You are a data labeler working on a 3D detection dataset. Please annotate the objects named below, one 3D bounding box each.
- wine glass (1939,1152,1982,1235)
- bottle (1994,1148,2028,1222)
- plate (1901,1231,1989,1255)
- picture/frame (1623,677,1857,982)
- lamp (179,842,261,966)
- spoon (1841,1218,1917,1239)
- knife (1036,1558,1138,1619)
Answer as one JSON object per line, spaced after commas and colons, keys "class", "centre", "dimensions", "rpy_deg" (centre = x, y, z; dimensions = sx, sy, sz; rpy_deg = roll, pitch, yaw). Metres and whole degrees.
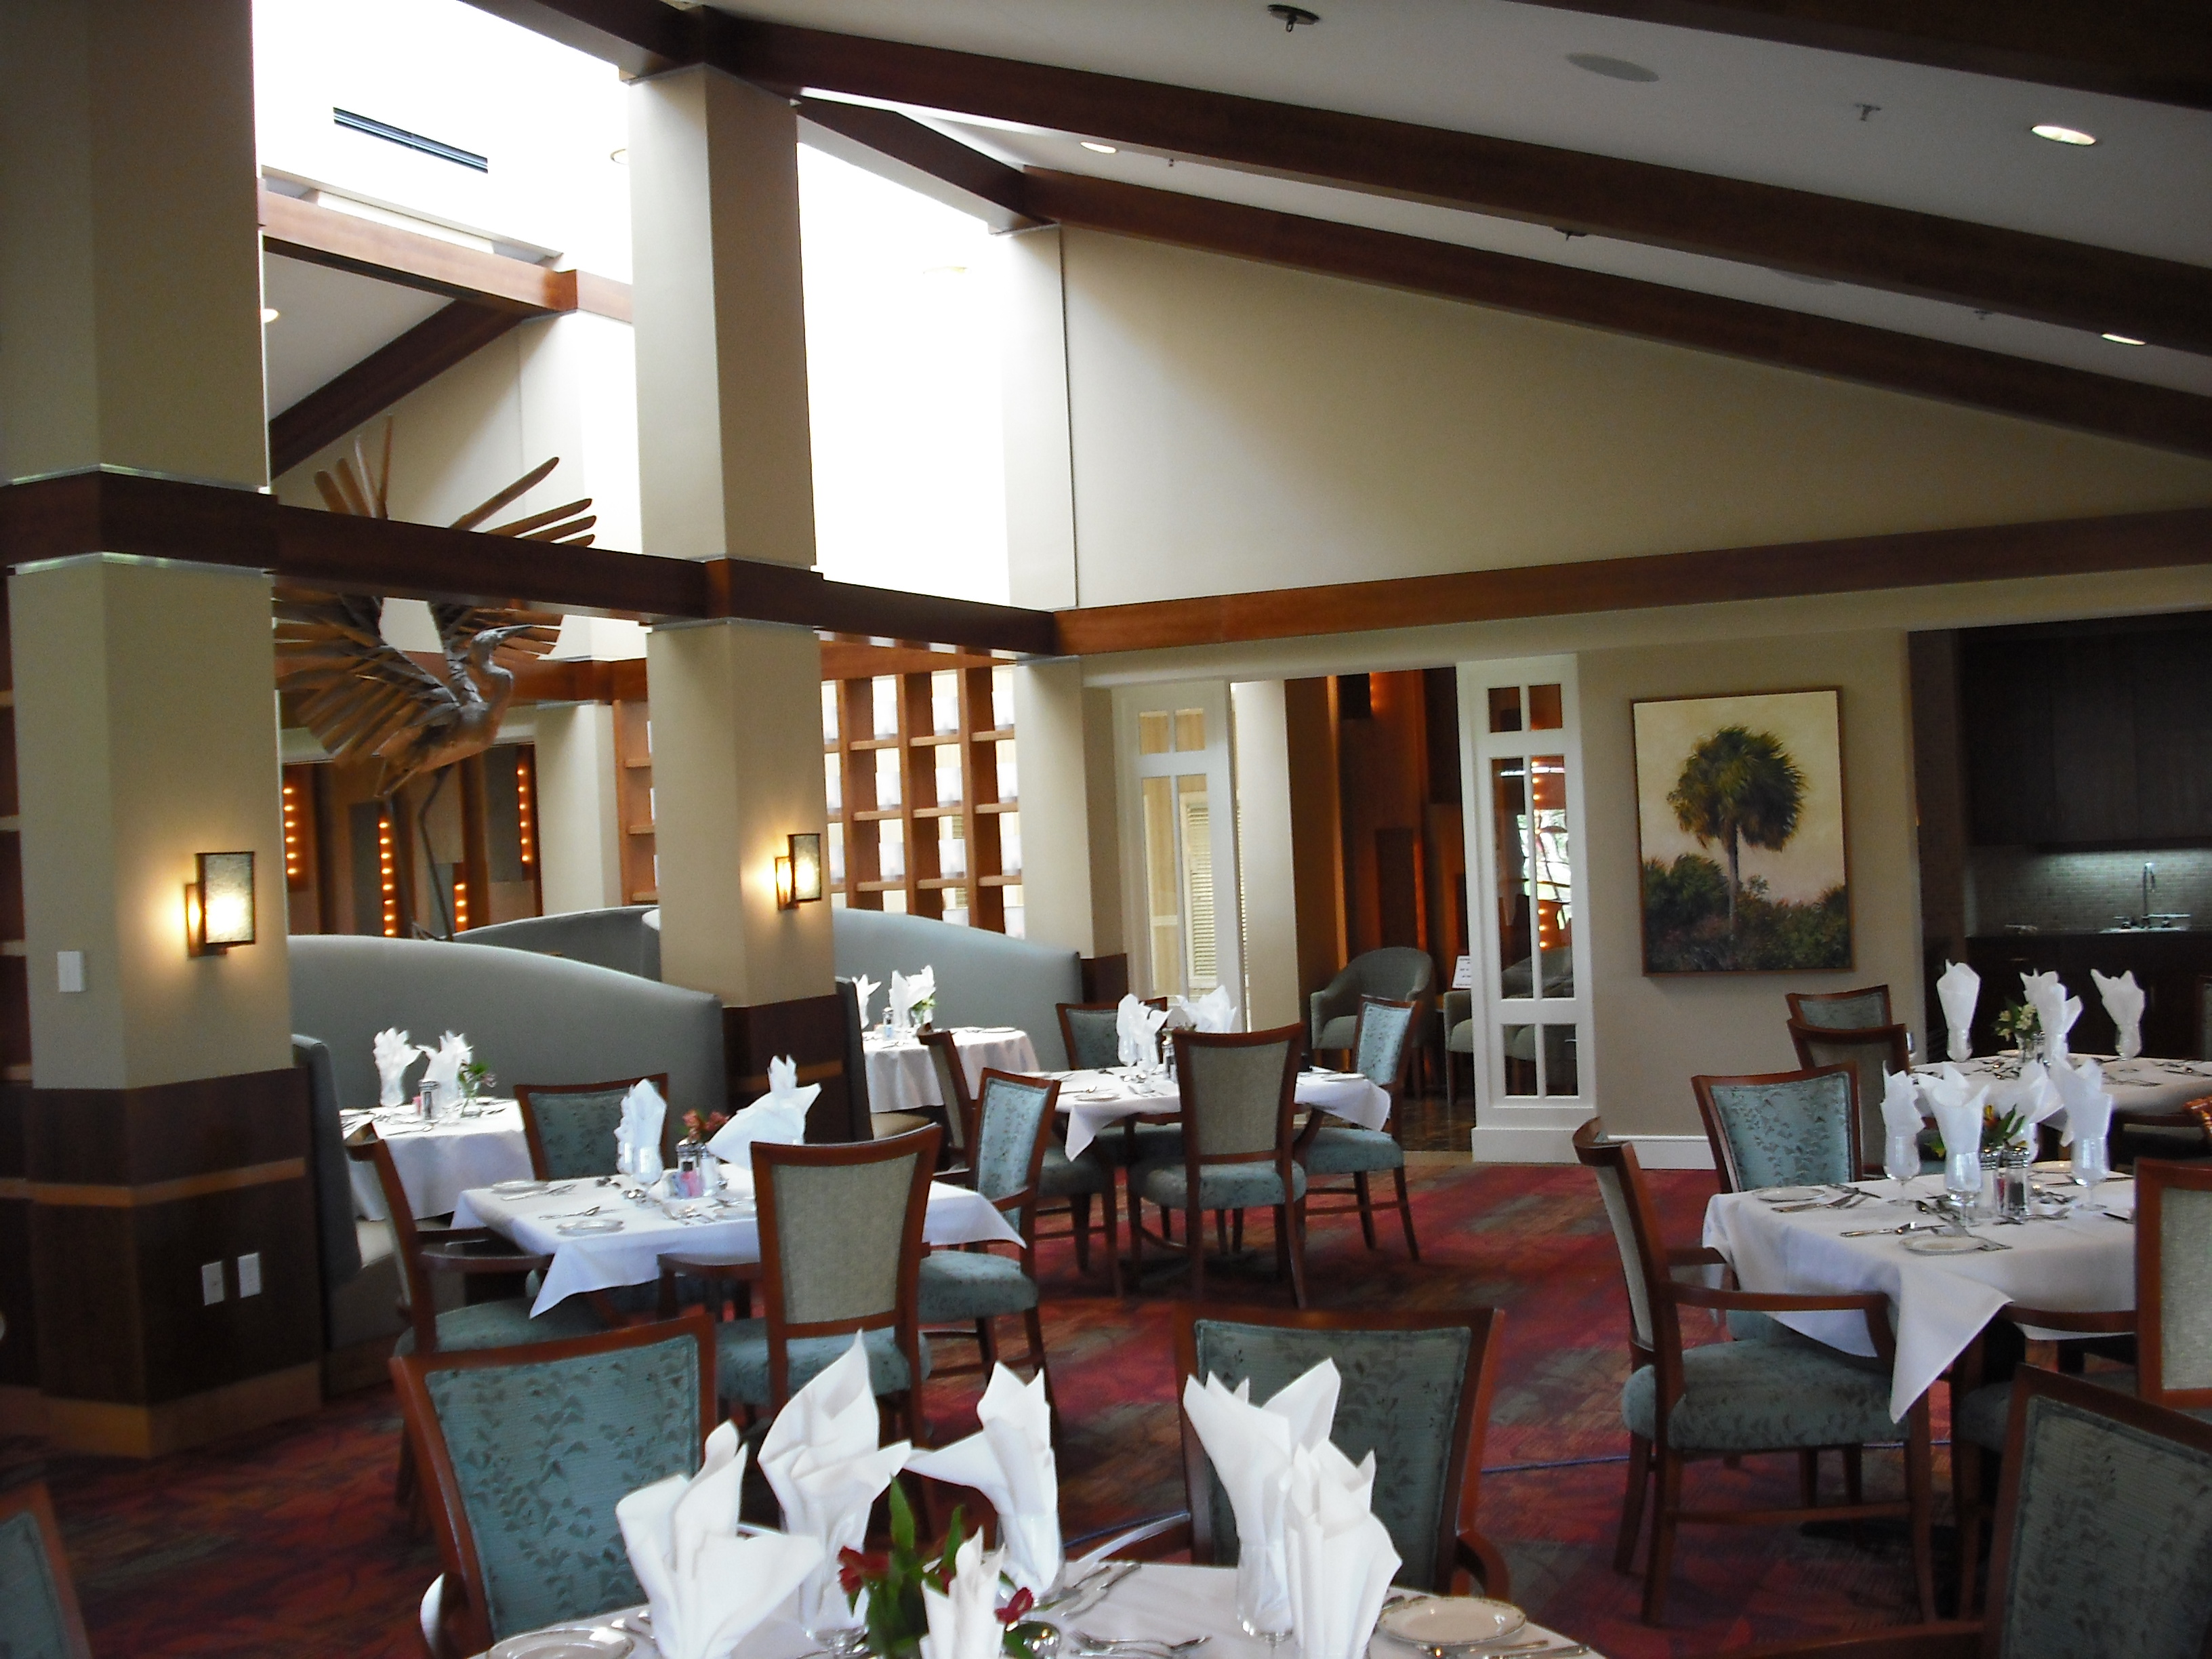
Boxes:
{"class": "wine glass", "centre": [2.343, 0.968, 4.715], "dimensions": [0.101, 0.192, 0.364], "rpy_deg": [-5, 0, 26]}
{"class": "bottle", "centre": [2.494, 0.971, 4.764], "dimensions": [0.092, 0.164, 0.274], "rpy_deg": [-5, 0, 27]}
{"class": "plate", "centre": [2.146, 1.060, 4.418], "dimensions": [0.213, 0.023, 0.203], "rpy_deg": [-6, 0, 15]}
{"class": "picture/frame", "centre": [3.545, -0.007, 9.528], "dimensions": [1.477, 2.210, 0.084], "rpy_deg": [-3, 0, 26]}
{"class": "lamp", "centre": [-3.234, 0.260, 6.356], "dimensions": [0.070, 0.406, 0.288], "rpy_deg": [-4, 1, 33]}
{"class": "spoon", "centre": [2.049, 1.066, 4.617], "dimensions": [0.149, 0.013, 0.255], "rpy_deg": [-6, 0, 41]}
{"class": "knife", "centre": [-0.026, 1.270, 2.883], "dimensions": [0.045, 0.025, 0.178], "rpy_deg": [8, 3, 20]}
